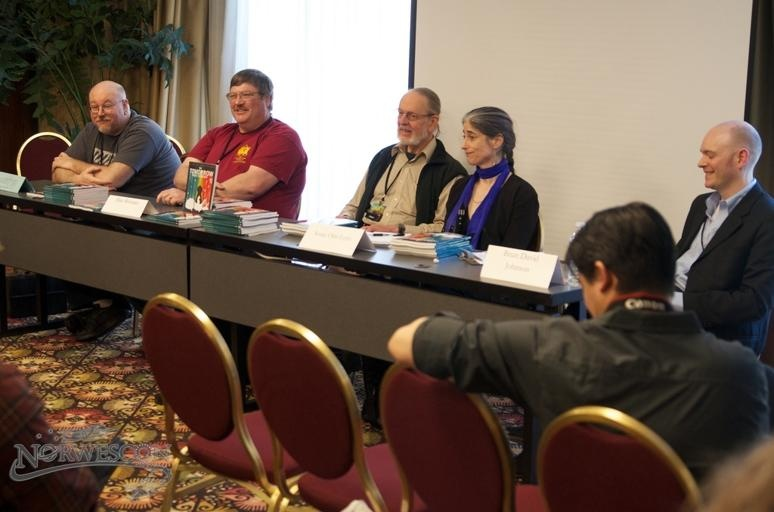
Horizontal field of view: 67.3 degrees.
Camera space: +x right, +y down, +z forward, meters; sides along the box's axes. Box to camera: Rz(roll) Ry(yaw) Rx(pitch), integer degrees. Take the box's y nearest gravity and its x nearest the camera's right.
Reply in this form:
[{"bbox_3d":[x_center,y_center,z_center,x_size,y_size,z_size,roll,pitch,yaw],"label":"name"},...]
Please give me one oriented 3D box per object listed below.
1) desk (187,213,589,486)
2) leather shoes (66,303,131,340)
[{"bbox_3d":[-0.384,0.373,2.826,2.282,0.884,0.569,10,-3,18],"label":"desk"},{"bbox_3d":[-1.987,0.450,3.996,0.372,0.151,0.213,-35,16,-13],"label":"leather shoes"}]
